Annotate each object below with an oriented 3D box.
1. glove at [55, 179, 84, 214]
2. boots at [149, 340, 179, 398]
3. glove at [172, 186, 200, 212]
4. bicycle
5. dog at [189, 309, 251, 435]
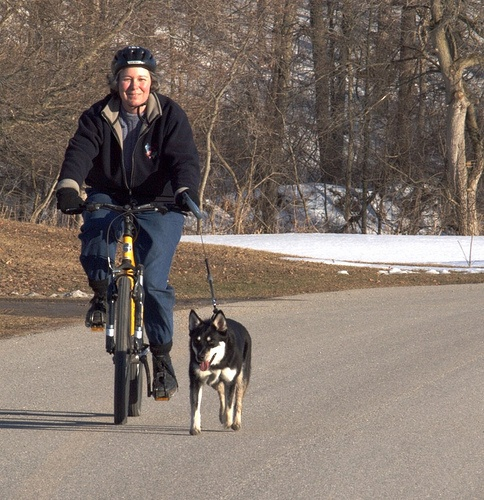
[{"bbox_3d":[-1.319,-0.424,7.625,0.170,0.281,0.122,-13,-18,-2],"label":"glove"},{"bbox_3d":[-0.640,0.949,8.061,0.140,0.431,0.429,-8,11,4],"label":"boots"},{"bbox_3d":[-0.426,-0.383,7.622,0.188,0.194,0.382,0,5,-4],"label":"glove"},{"bbox_3d":[-0.896,0.525,7.817,0.511,1.806,0.803,3,5,39],"label":"bicycle"},{"bbox_3d":[-0.185,0.951,8.132,0.404,0.967,0.743,3,5,34],"label":"dog"}]
